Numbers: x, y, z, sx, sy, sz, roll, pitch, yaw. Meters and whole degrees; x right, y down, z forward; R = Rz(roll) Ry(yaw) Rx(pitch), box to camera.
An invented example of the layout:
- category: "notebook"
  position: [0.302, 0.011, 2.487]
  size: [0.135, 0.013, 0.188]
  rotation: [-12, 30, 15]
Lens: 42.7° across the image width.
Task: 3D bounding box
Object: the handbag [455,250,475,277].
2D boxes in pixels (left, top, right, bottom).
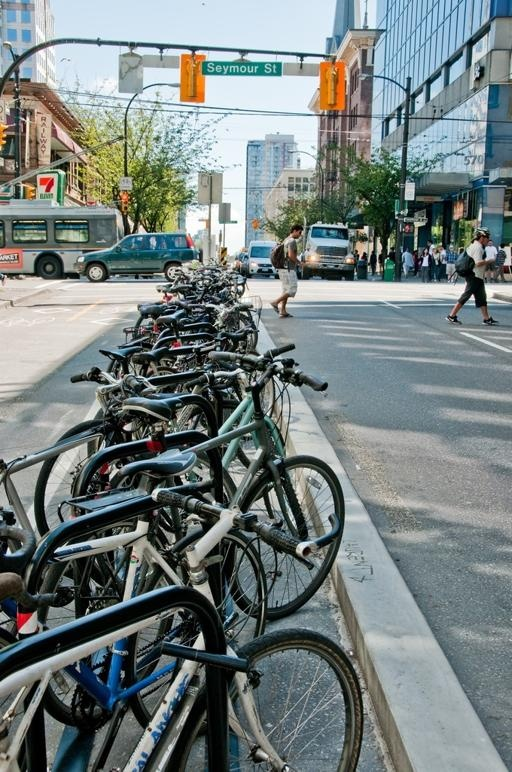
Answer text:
- category: "handbag"
  position: [4.915, -2.914, 15.476]
  size: [0.393, 0.605, 0.722]
  rotation: [6, 9, 30]

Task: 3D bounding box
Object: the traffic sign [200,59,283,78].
- category: "traffic sign"
  position: [-0.435, -10.726, 22.064]
  size: [2.731, 0.652, 0.327]
  rotation: [0, 8, -10]

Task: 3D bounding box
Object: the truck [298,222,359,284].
- category: "truck"
  position: [4.578, -8.210, 38.011]
  size: [3.204, 3.916, 6.550]
  rotation: [0, 7, 2]

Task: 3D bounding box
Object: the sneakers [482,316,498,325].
- category: "sneakers"
  position: [5.727, -1.607, 16.050]
  size: [0.399, 0.207, 0.151]
  rotation: [1, 27, -3]
